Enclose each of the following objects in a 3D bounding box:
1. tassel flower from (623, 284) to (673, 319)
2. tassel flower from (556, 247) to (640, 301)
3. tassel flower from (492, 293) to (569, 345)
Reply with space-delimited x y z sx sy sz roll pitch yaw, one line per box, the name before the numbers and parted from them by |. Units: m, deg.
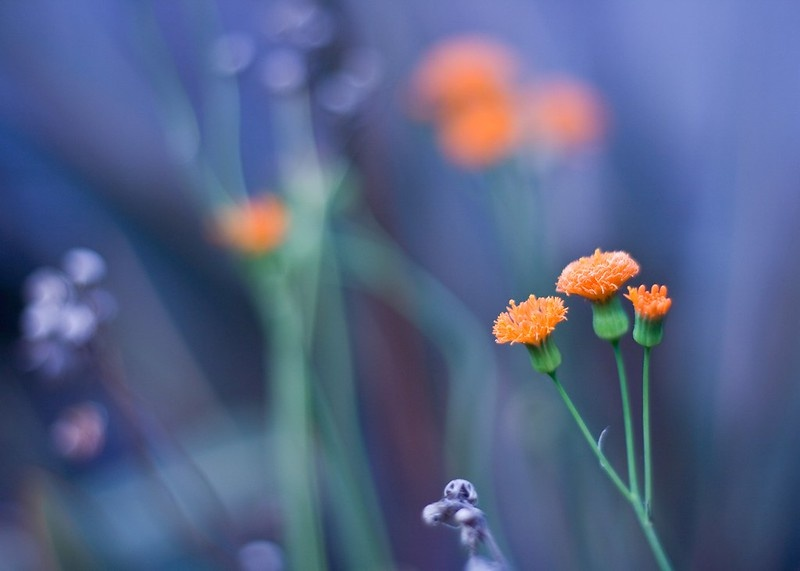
tassel flower | 0.235 0.016 0.826 0.032 0.026 0.038 0 -15 1
tassel flower | 0.193 -0.007 0.858 0.069 0.050 0.079 -3 6 8
tassel flower | 0.138 0.038 0.837 0.049 0.037 0.049 -20 21 -16
